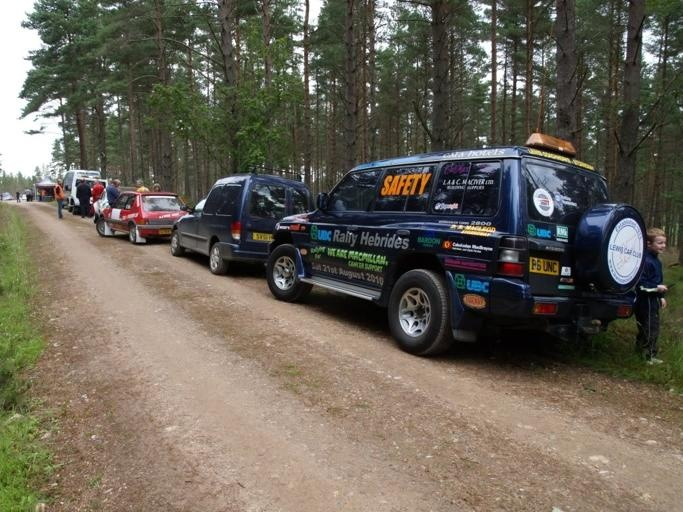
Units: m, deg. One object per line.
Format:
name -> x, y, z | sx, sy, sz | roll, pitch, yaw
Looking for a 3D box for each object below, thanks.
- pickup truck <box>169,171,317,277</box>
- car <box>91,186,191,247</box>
pickup truck -> -2.657, -0.905, 12.677 | 1.799, 1.782, 3.471 | -1, 14, -33
car -> -6.788, -1.524, 17.096 | 1.844, 1.381, 2.939 | -8, 19, -42
